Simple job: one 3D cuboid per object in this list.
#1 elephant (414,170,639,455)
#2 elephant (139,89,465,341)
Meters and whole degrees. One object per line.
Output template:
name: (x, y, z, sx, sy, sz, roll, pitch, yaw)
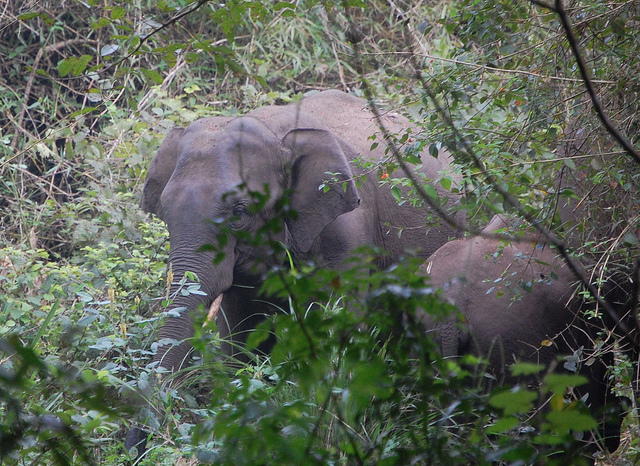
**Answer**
elephant: (0.825, 0.268, 3.012, 0.879, 1.092, 1.055, 3, -16, 7)
elephant: (-0.249, -0.117, 4.260, 1.753, 1.248, 1.096, 1, -2, -44)
